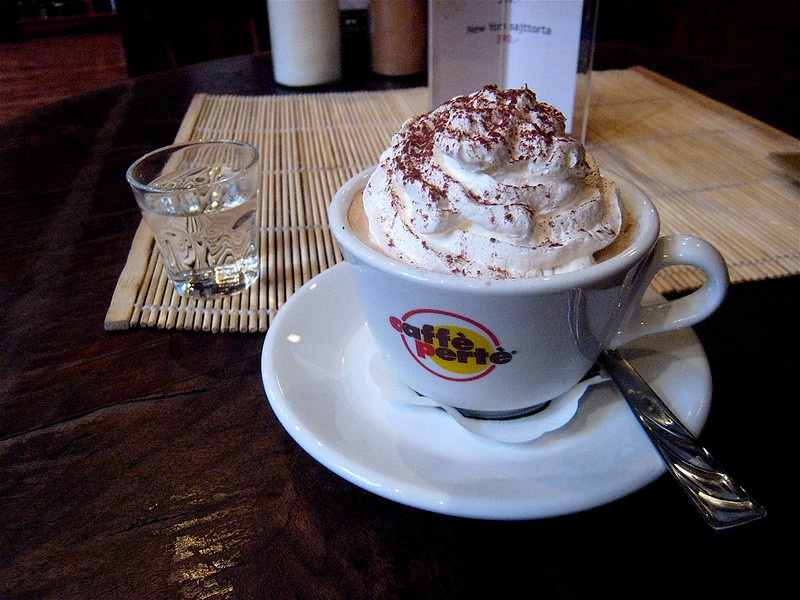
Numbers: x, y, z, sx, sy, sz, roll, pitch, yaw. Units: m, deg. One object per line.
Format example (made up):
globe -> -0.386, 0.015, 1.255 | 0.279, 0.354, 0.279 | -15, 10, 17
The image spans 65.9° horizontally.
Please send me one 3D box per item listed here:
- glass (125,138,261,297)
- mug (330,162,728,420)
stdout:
glass -> -0.310, -0.134, 0.988 | 0.190, 0.211, 0.211 | -4, 32, -8
mug -> 0.152, -0.002, 0.752 | 0.425, 0.213, 0.355 | 14, 34, 27
